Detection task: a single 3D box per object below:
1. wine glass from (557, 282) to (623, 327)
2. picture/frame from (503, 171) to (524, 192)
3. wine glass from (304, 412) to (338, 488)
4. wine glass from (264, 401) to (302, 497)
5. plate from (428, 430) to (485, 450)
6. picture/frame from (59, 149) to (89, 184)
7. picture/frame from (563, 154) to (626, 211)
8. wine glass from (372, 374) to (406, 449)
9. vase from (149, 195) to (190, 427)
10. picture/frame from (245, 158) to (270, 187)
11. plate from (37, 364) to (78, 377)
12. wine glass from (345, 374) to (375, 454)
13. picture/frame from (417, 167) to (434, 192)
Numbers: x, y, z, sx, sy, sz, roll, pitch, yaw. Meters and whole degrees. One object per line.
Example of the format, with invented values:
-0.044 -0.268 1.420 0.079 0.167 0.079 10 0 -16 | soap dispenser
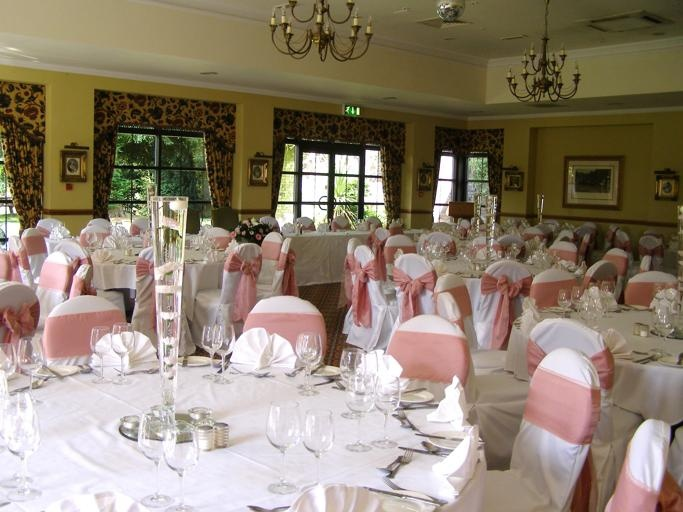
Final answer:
1.590 0.301 3.309 0.286 0.163 0.407 -1 2 4 | wine glass
4.263 -1.861 12.538 0.044 0.552 0.441 -3 6 -44 | picture/frame
-0.080 0.568 1.606 0.092 0.266 0.243 0 9 -4 | wine glass
-0.180 0.556 1.589 0.098 0.279 0.234 0 9 -5 | wine glass
0.398 0.651 1.801 0.119 0.019 0.128 -2 4 -20 | plate
-4.550 -1.531 8.546 0.501 0.761 0.069 -3 8 -41 | picture/frame
5.892 -1.716 11.739 1.147 1.344 0.079 4 6 38 | picture/frame
0.170 0.554 1.931 0.088 0.237 0.307 2 10 6 | wine glass
-0.498 0.158 1.456 0.157 0.655 0.096 10 12 44 | vase
-1.755 -1.725 10.351 0.512 0.661 0.063 -3 8 -34 | picture/frame
-1.309 0.531 2.350 0.068 0.026 0.103 9 16 38 | plate
0.070 0.540 1.896 0.100 0.264 0.312 2 10 4 | wine glass
2.067 -1.940 12.746 0.517 0.701 0.084 -4 8 -38 | picture/frame
